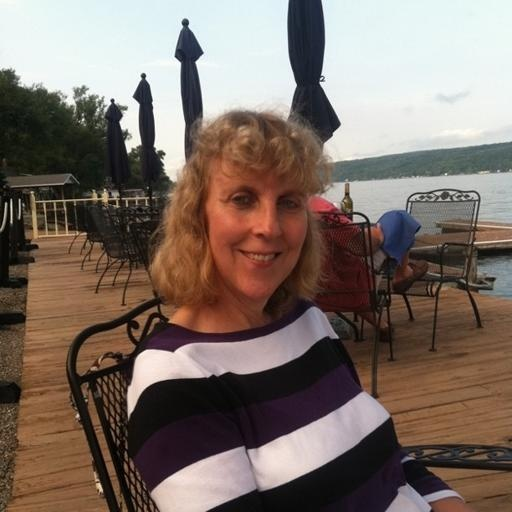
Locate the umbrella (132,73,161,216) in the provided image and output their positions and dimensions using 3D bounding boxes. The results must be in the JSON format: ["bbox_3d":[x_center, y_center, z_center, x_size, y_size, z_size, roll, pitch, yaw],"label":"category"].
[{"bbox_3d":[-1.923,-1.924,9.367,0.442,2.480,0.435,-5,25,-17],"label":"umbrella"}]

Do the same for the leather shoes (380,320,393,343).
[{"bbox_3d":[0.957,0.568,3.923,0.106,0.122,0.305,-2,-8,4],"label":"leather shoes"}]
